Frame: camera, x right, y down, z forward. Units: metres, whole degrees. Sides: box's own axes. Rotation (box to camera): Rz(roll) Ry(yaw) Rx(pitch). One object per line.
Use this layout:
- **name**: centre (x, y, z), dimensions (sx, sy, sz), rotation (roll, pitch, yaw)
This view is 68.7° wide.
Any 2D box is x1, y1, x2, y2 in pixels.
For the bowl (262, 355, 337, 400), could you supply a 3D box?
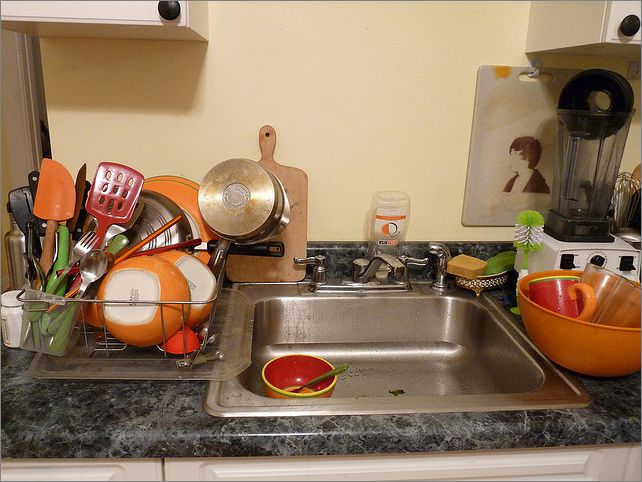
- **bowl**: centre (-0.081, 0.348, 1.173), dimensions (0.127, 0.050, 0.129), rotation (2, 17, -1)

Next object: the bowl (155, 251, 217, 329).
- **bowl**: centre (-0.292, 0.119, 1.121), dimensions (0.175, 0.165, 0.159), rotation (-1, -12, 0)

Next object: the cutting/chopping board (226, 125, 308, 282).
- **cutting/chopping board**: centre (-0.162, -0.132, 1.374), dimensions (0.278, 0.470, 0.051), rotation (0, 3, -1)

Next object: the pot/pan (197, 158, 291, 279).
- **pot/pan**: centre (-0.213, -0.106, 1.313), dimensions (0.206, 0.247, 0.158), rotation (6, 9, 23)

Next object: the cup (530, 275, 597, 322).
- **cup**: centre (0.578, 0.129, 1.107), dimensions (0.099, 0.098, 0.139), rotation (-3, 12, -6)

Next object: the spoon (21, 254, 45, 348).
- **spoon**: centre (-0.647, 0.136, 1.055), dimensions (0.051, 0.199, 0.130), rotation (-3, 10, -30)

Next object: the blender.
- **blender**: centre (0.751, -0.179, 1.336), dimensions (0.325, 0.569, 0.287), rotation (6, 9, 22)

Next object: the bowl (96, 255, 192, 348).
- **bowl**: centre (-0.391, 0.140, 1.038), dimensions (0.195, 0.200, 0.115), rotation (0, 9, -14)
